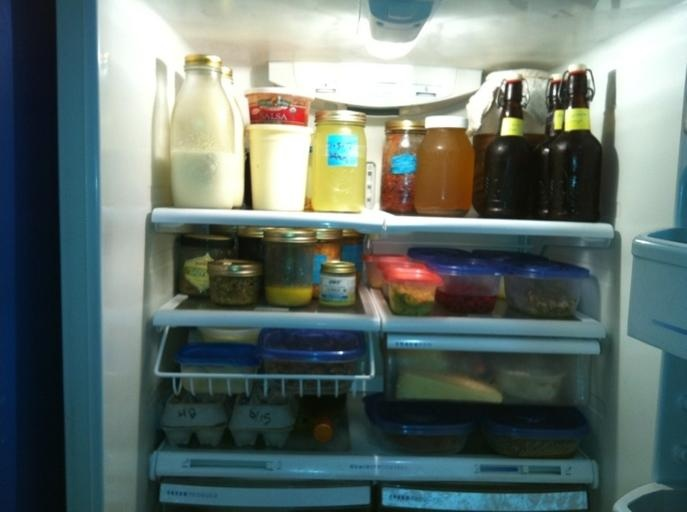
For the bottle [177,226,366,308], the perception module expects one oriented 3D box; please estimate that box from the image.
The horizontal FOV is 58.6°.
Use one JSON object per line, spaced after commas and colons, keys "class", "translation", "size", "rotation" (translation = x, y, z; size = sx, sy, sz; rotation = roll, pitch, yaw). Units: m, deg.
{"class": "bottle", "translation": [-0.169, 0.027, 1.751], "size": [0.370, 0.166, 0.259], "rotation": [1, 9, 1]}
